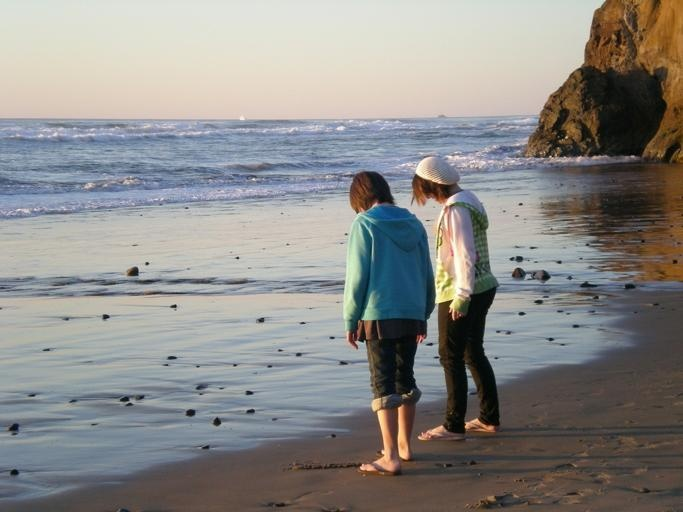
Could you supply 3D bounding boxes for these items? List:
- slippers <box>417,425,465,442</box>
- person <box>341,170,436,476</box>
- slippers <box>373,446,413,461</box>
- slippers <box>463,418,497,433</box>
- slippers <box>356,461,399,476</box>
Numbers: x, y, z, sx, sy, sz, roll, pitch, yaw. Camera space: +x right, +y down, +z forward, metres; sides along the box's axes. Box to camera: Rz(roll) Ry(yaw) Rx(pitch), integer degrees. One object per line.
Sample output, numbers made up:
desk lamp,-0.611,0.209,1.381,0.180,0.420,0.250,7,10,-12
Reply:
slippers,0.924,1.665,8.341,0.437,0.066,0.154,2,-4,6
person,0.394,0.561,7.917,0.666,2.644,0.830,-3,9,20
slippers,0.464,1.791,8.054,0.333,0.057,0.097,9,0,8
slippers,1.299,1.615,8.451,0.307,0.080,0.120,2,2,18
slippers,0.308,1.858,7.786,0.305,0.052,0.125,2,0,18
